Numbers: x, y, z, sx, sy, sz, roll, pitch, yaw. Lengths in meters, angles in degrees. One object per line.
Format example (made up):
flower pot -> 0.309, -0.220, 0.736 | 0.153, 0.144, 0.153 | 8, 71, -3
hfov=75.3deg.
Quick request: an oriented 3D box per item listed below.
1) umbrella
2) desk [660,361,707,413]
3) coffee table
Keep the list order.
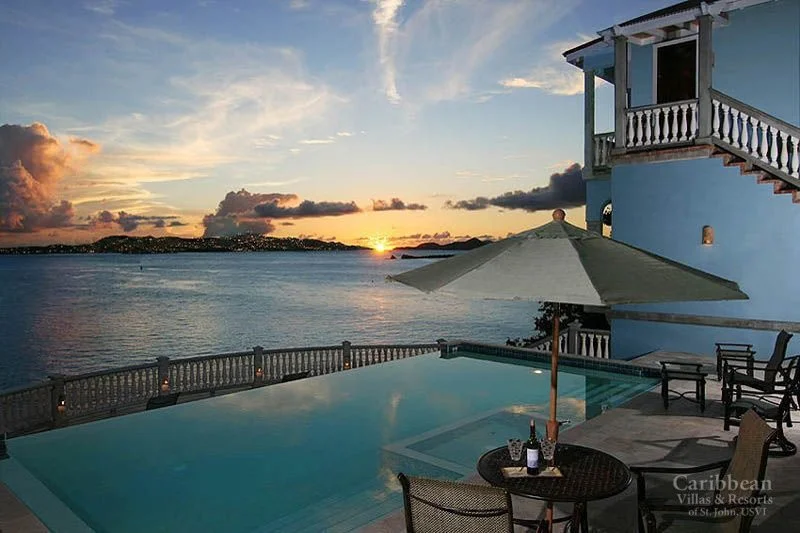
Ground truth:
umbrella -> 2.101, 1.118, 7.694 | 4.260, 2.515, 3.974 | -3, 7, -14
desk -> 6.623, 2.664, 12.050 | 1.270, 1.003, 1.572 | -2, -3, 24
coffee table -> 1.984, 2.714, 6.827 | 1.621, 0.901, 1.541 | -6, 6, -35
